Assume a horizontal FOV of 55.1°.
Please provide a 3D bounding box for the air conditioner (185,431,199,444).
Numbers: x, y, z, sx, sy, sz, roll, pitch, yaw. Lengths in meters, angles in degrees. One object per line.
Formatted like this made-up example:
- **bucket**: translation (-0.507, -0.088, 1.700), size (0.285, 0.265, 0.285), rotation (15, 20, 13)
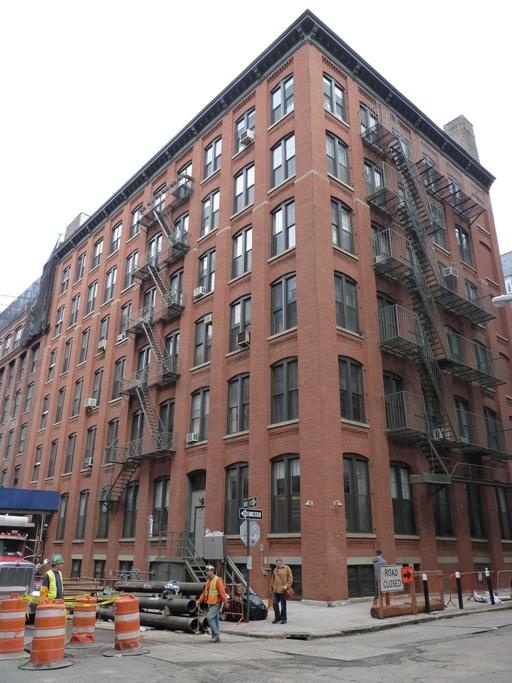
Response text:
- **air conditioner**: translation (-3.088, 4.640, 23.464), size (0.464, 0.609, 0.809), rotation (13, -25, -30)

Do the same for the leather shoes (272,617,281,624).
- **leather shoes**: translation (0.483, 7.045, 12.391), size (0.154, 0.090, 0.260), rotation (12, -31, -23)

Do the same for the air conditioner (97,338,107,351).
- **air conditioner**: translation (-10.626, 0.202, 33.781), size (0.336, 0.564, 0.612), rotation (17, -41, -25)

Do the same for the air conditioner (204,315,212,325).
- **air conditioner**: translation (-2.464, -1.138, 25.031), size (0.288, 0.591, 0.605), rotation (9, -30, -18)

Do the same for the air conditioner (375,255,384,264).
- **air conditioner**: translation (5.520, -3.687, 22.075), size (0.203, 0.365, 0.395), rotation (-19, -32, 41)

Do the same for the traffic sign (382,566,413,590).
- **traffic sign**: translation (3.660, 6.344, 13.136), size (1.443, 0.634, 0.593), rotation (23, -36, -37)

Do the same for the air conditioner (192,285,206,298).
- **air conditioner**: translation (-3.072, -2.633, 26.102), size (0.910, 0.680, 0.359), rotation (-20, -33, 31)

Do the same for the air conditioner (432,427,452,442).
- **air conditioner**: translation (8.002, 4.022, 21.290), size (0.670, 0.667, 0.692), rotation (1, -14, 6)

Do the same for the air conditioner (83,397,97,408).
- **air conditioner**: translation (-11.018, 4.185, 32.602), size (0.665, 0.758, 1.023), rotation (16, -26, -33)

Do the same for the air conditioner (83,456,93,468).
- **air conditioner**: translation (-10.914, 7.794, 31.878), size (0.389, 0.678, 0.711), rotation (7, -17, -33)

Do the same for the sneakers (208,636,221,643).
- **sneakers**: translation (-0.850, 6.030, 9.949), size (0.090, 0.106, 0.252), rotation (-24, -41, 30)

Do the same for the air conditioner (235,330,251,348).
- **air conditioner**: translation (-0.605, -0.075, 21.989), size (0.379, 0.771, 0.962), rotation (15, -32, -27)
